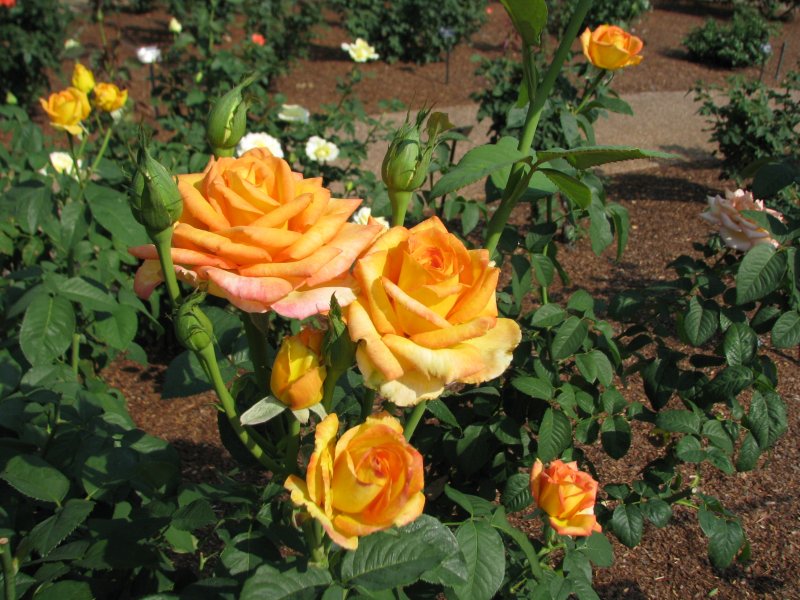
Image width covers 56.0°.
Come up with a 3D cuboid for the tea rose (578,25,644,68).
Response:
[{"bbox_3d":[0.879,-1.057,3.193,0.270,0.163,0.268,13,19,-2],"label":"tea rose"}]

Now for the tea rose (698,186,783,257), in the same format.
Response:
[{"bbox_3d":[1.428,-0.347,3.116,0.236,0.268,0.158,-9,74,24],"label":"tea rose"}]

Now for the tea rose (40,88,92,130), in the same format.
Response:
[{"bbox_3d":[-1.465,-0.794,3.238,0.123,0.208,0.195,18,10,-5],"label":"tea rose"}]

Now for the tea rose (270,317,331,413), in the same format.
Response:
[{"bbox_3d":[-0.258,0.169,1.933,0.137,0.168,0.172,5,45,-17],"label":"tea rose"}]
